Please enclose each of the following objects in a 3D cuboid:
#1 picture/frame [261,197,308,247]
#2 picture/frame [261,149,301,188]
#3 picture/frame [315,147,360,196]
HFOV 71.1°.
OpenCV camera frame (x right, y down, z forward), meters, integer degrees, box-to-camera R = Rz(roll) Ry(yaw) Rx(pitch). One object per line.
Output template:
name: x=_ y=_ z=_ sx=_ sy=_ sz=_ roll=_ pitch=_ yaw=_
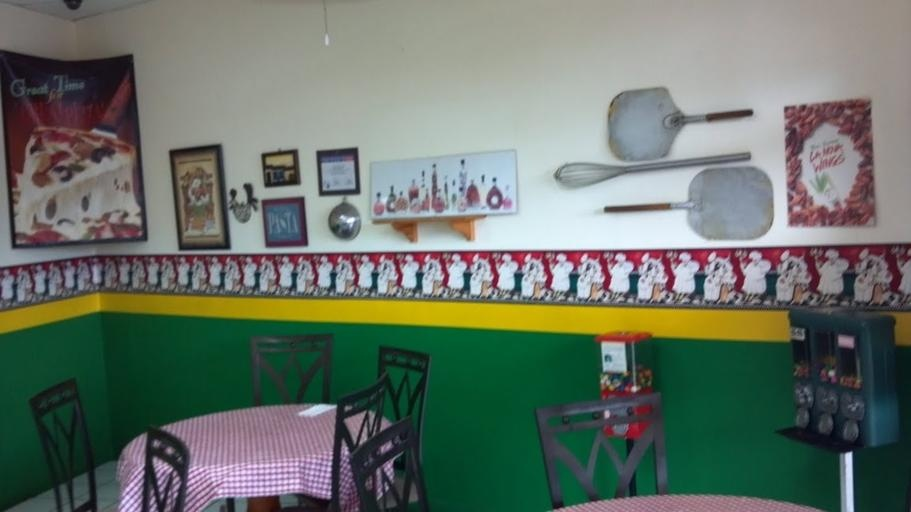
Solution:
picture/frame: x=-1.552 y=-0.323 z=5.837 sx=0.479 sy=0.450 sz=0.049 roll=1 pitch=2 yaw=18
picture/frame: x=-1.582 y=-0.804 z=5.808 sx=0.372 sy=0.300 sz=0.050 roll=1 pitch=4 yaw=20
picture/frame: x=-1.036 y=-0.740 z=5.634 sx=0.435 sy=0.400 sz=0.020 roll=-1 pitch=4 yaw=24
